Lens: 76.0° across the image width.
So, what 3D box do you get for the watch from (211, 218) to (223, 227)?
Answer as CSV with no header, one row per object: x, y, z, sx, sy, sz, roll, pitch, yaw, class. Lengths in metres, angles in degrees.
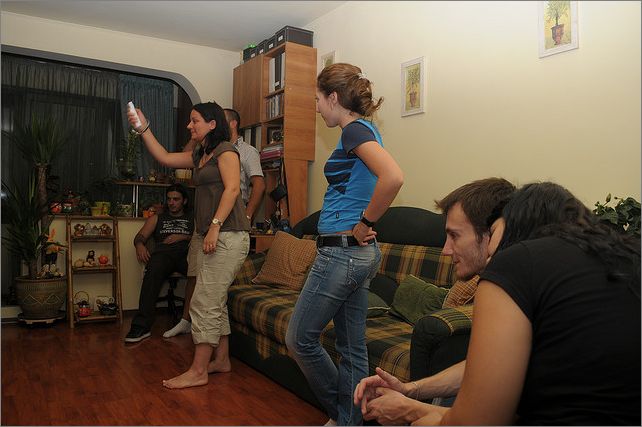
-0.740,0.058,2.921,0.063,0.040,0.063,11,-4,-10,watch

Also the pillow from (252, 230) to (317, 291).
-0.326,0.461,3.868,0.498,0.501,0.159,12,-17,37,pillow

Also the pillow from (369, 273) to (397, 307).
0.499,0.609,3.269,0.055,0.209,0.268,30,-1,-43,pillow

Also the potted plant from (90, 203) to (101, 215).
-2.779,-0.069,5.104,0.136,0.107,0.139,0,0,14,potted plant

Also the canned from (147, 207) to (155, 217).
-2.217,-0.020,5.378,0.086,0.116,0.052,12,-23,-27,canned

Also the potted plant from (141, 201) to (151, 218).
-2.300,-0.063,5.390,0.082,0.221,0.189,6,-9,-38,potted plant

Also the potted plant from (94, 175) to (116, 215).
-2.809,-0.242,5.330,0.258,0.509,0.525,1,1,-27,potted plant

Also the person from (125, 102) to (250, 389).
-0.925,0.211,3.146,0.733,1.444,0.419,1,0,19,person

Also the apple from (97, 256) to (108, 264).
-2.615,0.552,4.927,0.085,0.083,0.099,-4,-5,34,apple

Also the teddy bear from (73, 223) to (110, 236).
-2.706,0.201,4.896,0.451,0.185,0.160,3,-5,-31,teddy bear

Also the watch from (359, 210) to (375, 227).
0.225,0.040,2.102,0.089,0.091,0.053,21,-46,-21,watch

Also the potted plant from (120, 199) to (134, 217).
-2.472,-0.044,5.257,0.168,0.179,0.164,0,2,-17,potted plant

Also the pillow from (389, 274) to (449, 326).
0.664,0.578,2.748,0.110,0.210,0.318,11,-6,-19,pillow

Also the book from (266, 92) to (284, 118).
-0.539,-1.278,4.833,0.180,0.338,0.342,0,1,-25,book

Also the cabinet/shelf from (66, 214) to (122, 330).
-2.666,0.639,4.815,0.573,1.217,0.621,1,1,-32,cabinet/shelf

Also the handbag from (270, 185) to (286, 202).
-0.471,-0.234,4.658,0.166,0.161,0.171,1,1,29,handbag
